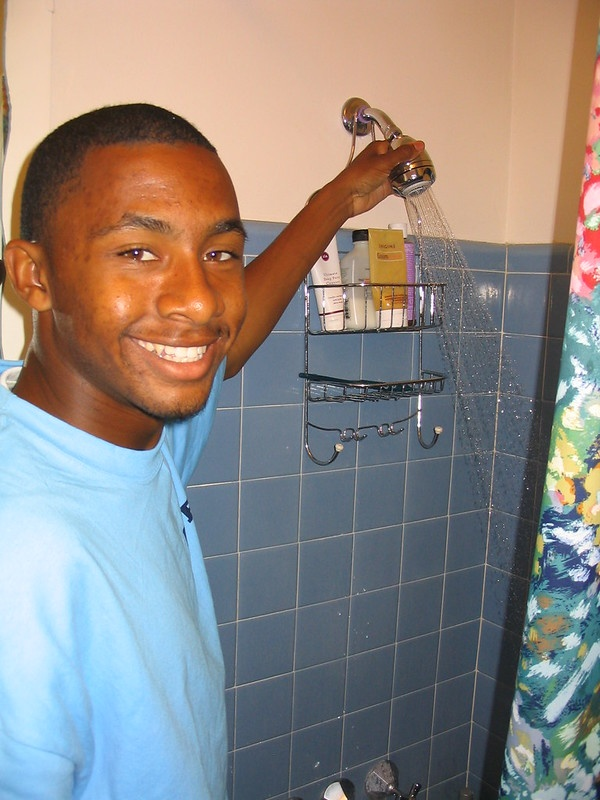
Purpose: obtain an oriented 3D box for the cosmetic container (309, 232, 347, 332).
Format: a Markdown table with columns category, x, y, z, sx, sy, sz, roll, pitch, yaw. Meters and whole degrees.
| category | x | y | z | sx | sy | sz | roll | pitch | yaw |
| --- | --- | --- | --- | --- | --- | --- | --- | --- | --- |
| cosmetic container | 0.048 | -0.193 | 1.207 | 0.063 | 0.146 | 0.034 | -8 | 9 | -10 |
